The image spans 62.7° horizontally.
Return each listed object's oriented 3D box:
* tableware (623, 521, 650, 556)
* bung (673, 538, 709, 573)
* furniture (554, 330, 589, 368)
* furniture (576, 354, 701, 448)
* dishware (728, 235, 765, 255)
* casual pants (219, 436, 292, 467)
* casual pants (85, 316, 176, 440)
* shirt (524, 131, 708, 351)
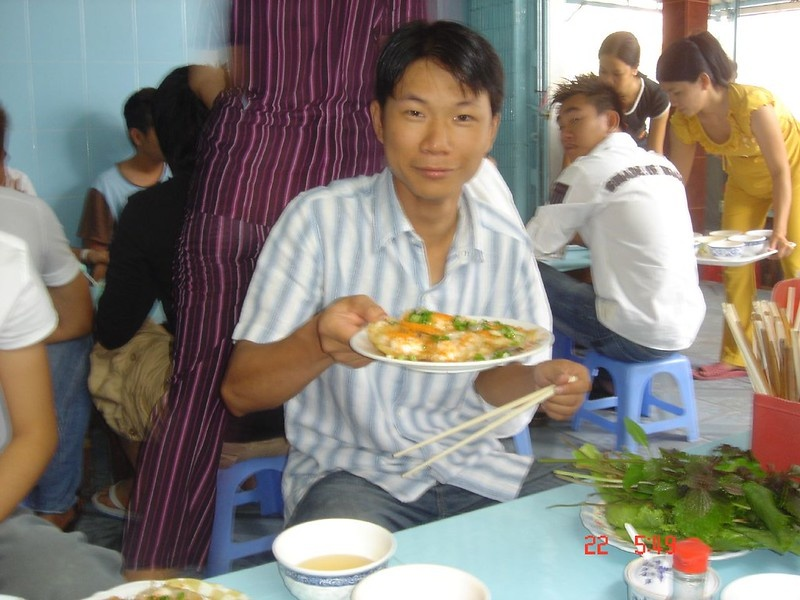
[{"bbox_3d":[0.448,0.454,1.256,0.021,0.017,0.074,12,30,-16],"label":"tableware"},{"bbox_3d":[0.447,0.392,1.013,0.049,0.034,0.047,1,3,-18],"label":"bung"},{"bbox_3d":[0.937,0.262,3.618,0.238,0.106,0.244,16,21,40],"label":"furniture"},{"bbox_3d":[1.290,0.561,3.597,0.550,0.491,0.534,-8,15,-22],"label":"furniture"},{"bbox_3d":[2.333,-0.363,4.389,0.224,0.090,0.224,0,7,18],"label":"dishware"},{"bbox_3d":[-0.545,0.563,2.438,0.179,0.046,0.173,-2,46,1],"label":"casual pants"},{"bbox_3d":[-1.165,0.335,3.045,0.438,0.552,0.234,-32,-26,32],"label":"casual pants"},{"bbox_3d":[1.330,-0.388,4.058,1.039,1.131,1.426,-1,18,-6],"label":"shirt"}]
